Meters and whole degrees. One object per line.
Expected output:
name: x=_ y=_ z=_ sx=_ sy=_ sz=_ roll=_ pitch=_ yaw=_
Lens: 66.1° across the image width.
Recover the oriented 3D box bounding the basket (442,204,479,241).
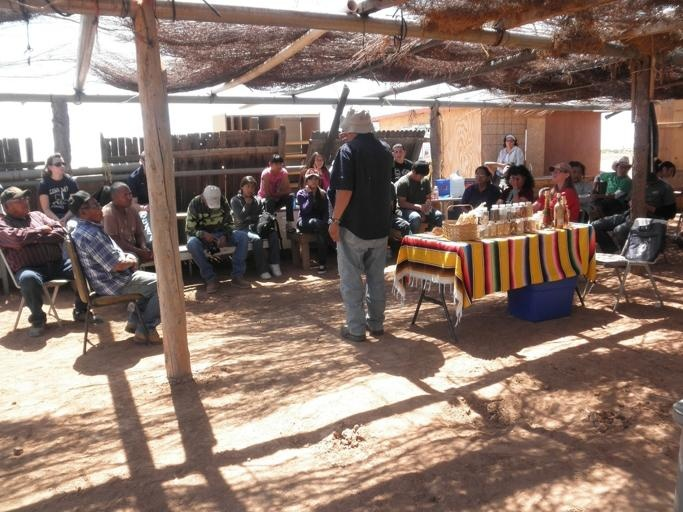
basket: x=1.419 y=-0.343 z=6.204 sx=0.416 sy=0.313 sz=0.360 roll=-1 pitch=11 yaw=10

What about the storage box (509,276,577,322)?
storage box: x=2.550 y=0.552 z=6.765 sx=0.718 sy=0.503 sz=0.534 roll=-2 pitch=0 yaw=-16

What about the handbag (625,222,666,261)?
handbag: x=4.179 y=-0.221 z=7.238 sx=0.485 sy=0.506 sz=0.698 roll=3 pitch=12 yaw=29

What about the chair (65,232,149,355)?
chair: x=-2.891 y=0.397 z=6.348 sx=0.653 sy=1.328 sz=1.127 roll=-9 pitch=13 yaw=-27

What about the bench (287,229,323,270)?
bench: x=-0.708 y=-0.188 z=9.824 sx=0.607 sy=0.921 sz=1.084 roll=-3 pitch=9 yaw=-23

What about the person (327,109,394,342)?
person: x=0.244 y=-0.302 z=5.973 sx=0.713 sy=2.621 sz=0.379 roll=-3 pitch=12 yaw=3
